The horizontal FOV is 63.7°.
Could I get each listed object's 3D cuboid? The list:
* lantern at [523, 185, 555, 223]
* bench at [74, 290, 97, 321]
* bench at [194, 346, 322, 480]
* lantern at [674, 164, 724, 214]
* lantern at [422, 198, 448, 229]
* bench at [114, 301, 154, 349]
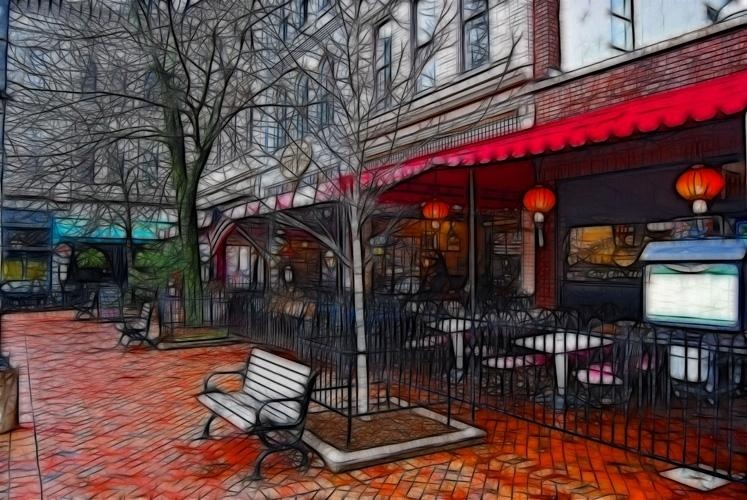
[{"bbox_3d":[3.891,-1.013,14.206,0.786,0.998,0.787,0,-1,-5],"label":"lantern"},{"bbox_3d":[-11.326,2.159,23.865,0.925,1.328,0.932,3,-3,-31],"label":"bench"},{"bbox_3d":[-1.913,2.434,9.523,1.230,1.431,2.106,0,3,-39],"label":"bench"},{"bbox_3d":[6.562,-1.113,12.109,0.781,0.865,0.771,3,-17,16],"label":"lantern"},{"bbox_3d":[1.602,-0.997,15.183,0.600,0.601,0.608,-1,4,-7],"label":"lantern"},{"bbox_3d":[-6.386,1.886,16.474,0.698,0.865,1.248,-3,-23,-14],"label":"bench"}]
